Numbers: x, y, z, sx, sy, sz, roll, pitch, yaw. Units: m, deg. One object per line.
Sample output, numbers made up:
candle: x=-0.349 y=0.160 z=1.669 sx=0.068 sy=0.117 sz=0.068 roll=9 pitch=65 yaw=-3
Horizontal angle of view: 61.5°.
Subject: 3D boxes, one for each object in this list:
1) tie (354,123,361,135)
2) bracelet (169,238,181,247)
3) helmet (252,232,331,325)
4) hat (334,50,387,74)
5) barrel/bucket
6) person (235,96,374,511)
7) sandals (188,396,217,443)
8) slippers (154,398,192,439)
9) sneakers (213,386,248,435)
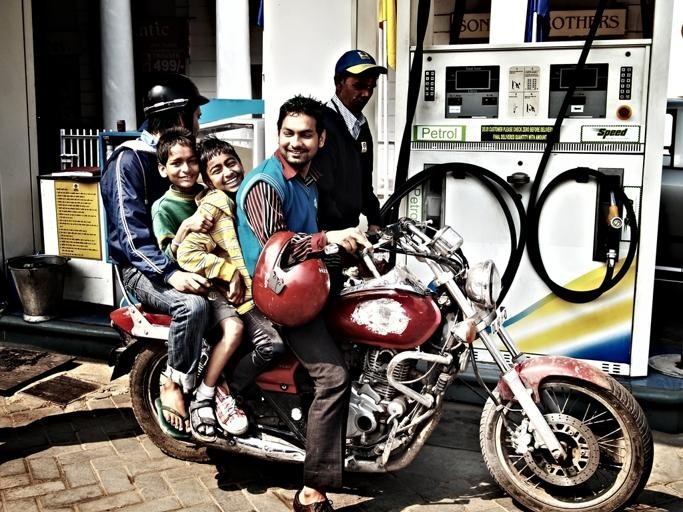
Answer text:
tie: x=0.107 y=-0.910 z=4.098 sx=0.020 sy=0.066 sz=0.065 roll=1 pitch=1 yaw=9
bracelet: x=-0.950 y=-0.079 z=3.299 sx=0.046 sy=0.015 sz=0.046 roll=27 pitch=-15 yaw=-10
helmet: x=-0.249 y=0.115 z=3.159 sx=0.359 sy=0.492 sz=0.386 roll=17 pitch=12 yaw=17
hat: x=0.104 y=-1.306 z=3.953 sx=0.204 sy=0.140 sz=0.266 roll=-10 pitch=13 yaw=-37
barrel/bucket: x=-2.850 y=0.291 z=5.553 sx=0.590 sy=0.553 sz=0.615 roll=4 pitch=6 yaw=0
person: x=-0.214 y=0.289 z=3.173 sx=0.609 sy=2.287 sz=0.806 roll=-5 pitch=15 yaw=-17
sandals: x=-0.788 y=0.950 z=3.317 sx=0.114 sy=0.133 sz=0.310 roll=0 pitch=6 yaw=-13
slippers: x=-1.097 y=1.071 z=3.657 sx=0.160 sy=0.354 sz=0.041 roll=-32 pitch=-1 yaw=26
sneakers: x=-0.639 y=0.882 z=3.277 sx=0.133 sy=0.126 sz=0.325 roll=-23 pitch=52 yaw=-33
